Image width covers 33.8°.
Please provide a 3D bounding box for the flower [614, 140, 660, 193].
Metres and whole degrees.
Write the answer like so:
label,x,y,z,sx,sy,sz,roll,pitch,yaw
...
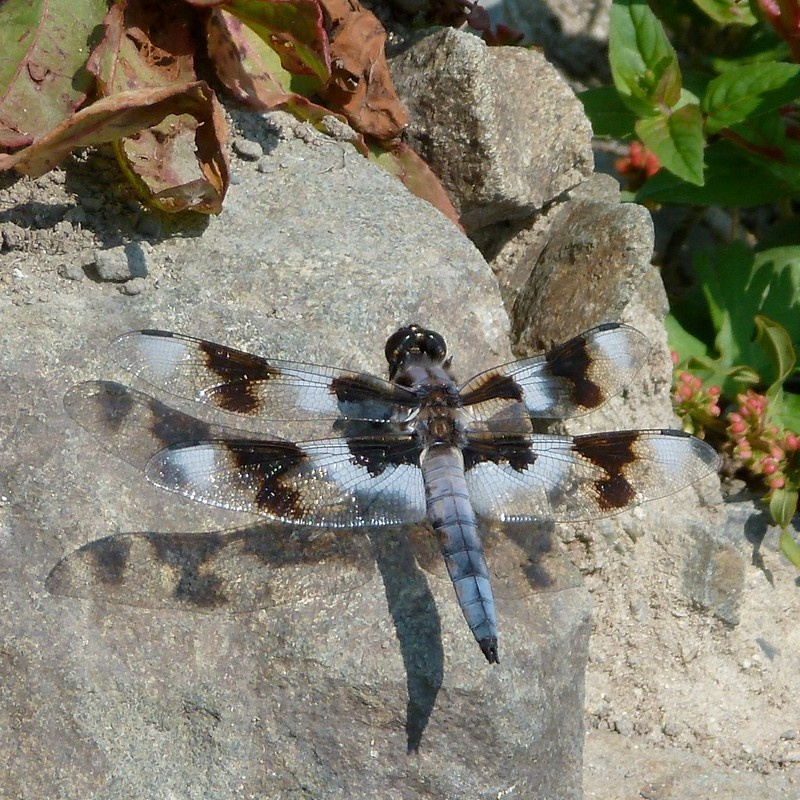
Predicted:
label,x,y,z,sx,sy,sz,roll,pitch,yaw
flower,0.916,-0.883,5.005,0.204,0.126,0.254,8,104,28
